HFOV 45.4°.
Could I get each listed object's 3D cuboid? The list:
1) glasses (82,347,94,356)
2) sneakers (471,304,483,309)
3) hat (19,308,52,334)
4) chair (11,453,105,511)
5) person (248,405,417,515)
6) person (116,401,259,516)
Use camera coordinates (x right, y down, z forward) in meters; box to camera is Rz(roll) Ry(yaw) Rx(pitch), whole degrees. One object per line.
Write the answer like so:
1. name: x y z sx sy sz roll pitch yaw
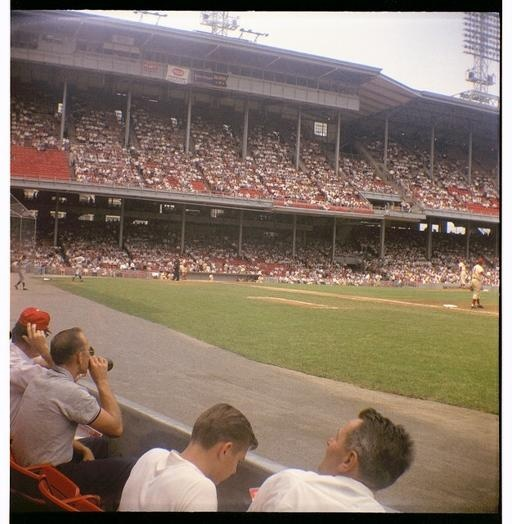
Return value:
1. glasses: -1.528 0.808 5.554 0.122 0.047 0.130 -1 -3 -4
2. sneakers: 6.731 1.358 18.647 0.202 0.139 0.298 0 0 25
3. hat: -2.121 0.591 5.959 0.201 0.166 0.296 31 -1 28
4. chair: -1.667 1.830 4.829 0.845 0.365 0.367 4 1 19
5. person: 0.589 1.422 4.266 1.150 0.722 0.381 4 0 -17
6. person: -0.585 1.636 5.005 0.620 1.166 0.858 28 -2 -34
